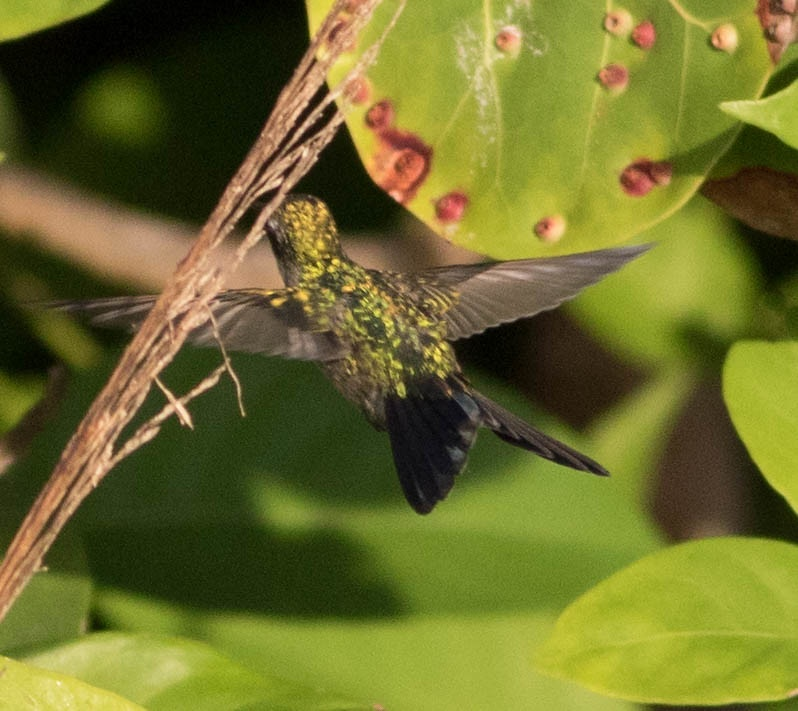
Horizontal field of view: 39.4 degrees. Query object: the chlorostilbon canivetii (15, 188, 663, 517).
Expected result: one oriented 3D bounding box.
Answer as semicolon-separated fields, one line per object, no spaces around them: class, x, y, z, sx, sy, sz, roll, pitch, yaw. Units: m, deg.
chlorostilbon canivetii;0.011;-0.031;0.654;0.331;0.115;0.224;-10;19;-32
